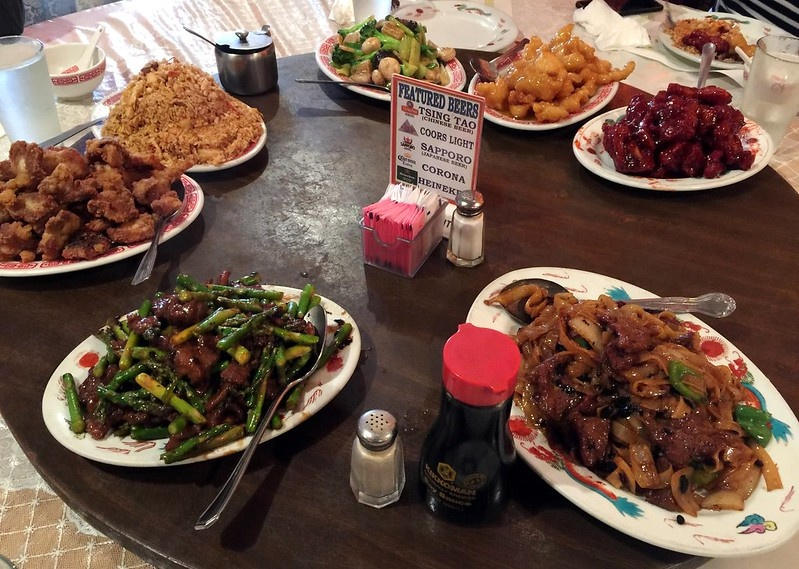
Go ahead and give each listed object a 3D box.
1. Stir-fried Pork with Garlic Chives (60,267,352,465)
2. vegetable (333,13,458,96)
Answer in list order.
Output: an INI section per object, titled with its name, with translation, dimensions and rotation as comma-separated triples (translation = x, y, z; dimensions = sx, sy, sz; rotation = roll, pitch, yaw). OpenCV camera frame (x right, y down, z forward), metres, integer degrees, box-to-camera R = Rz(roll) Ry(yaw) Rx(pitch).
[Stir-fried Pork with Garlic Chives]
translation = -0.586, 0.323, 2.007
dimensions = 0.634, 0.253, 0.550
rotation = -34, 50, -11
[vegetable]
translation = -0.004, -1.317, 3.276
dimensions = 0.594, 0.237, 0.603
rotation = 30, 49, 8
